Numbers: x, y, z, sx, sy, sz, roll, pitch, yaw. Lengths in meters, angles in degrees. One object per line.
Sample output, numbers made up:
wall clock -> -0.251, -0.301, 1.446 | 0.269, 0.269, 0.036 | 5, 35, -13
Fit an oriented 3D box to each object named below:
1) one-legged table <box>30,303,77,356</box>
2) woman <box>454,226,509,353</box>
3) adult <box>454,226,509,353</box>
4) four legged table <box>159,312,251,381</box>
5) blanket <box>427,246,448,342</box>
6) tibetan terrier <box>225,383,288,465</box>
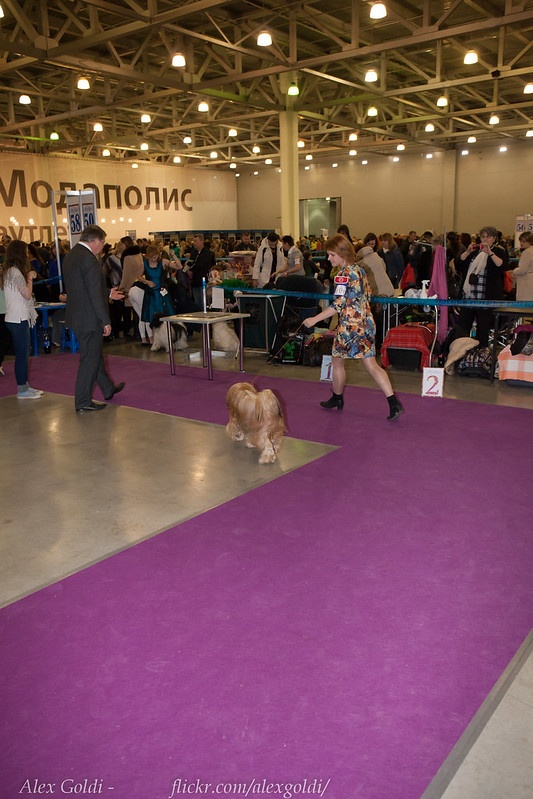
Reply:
one-legged table -> -2.993, -0.948, 7.543 | 0.562, 0.726, 0.780 | 7, 15, 25
woman -> 2.522, -1.304, 6.579 | 0.541, 1.564, 0.561 | 14, 21, 27
adult -> 2.544, -1.292, 6.650 | 0.555, 1.600, 0.556 | -2, 21, 12
four legged table -> -0.809, -0.820, 6.517 | 1.025, 1.006, 1.046 | 7, 16, 31
blanket -> 2.091, -1.250, 6.640 | 0.243, 1.160, 0.195 | 0, 4, 3
tibetan terrier -> -0.081, 0.128, 3.883 | 0.321, 0.443, 0.715 | -20, 28, -27
